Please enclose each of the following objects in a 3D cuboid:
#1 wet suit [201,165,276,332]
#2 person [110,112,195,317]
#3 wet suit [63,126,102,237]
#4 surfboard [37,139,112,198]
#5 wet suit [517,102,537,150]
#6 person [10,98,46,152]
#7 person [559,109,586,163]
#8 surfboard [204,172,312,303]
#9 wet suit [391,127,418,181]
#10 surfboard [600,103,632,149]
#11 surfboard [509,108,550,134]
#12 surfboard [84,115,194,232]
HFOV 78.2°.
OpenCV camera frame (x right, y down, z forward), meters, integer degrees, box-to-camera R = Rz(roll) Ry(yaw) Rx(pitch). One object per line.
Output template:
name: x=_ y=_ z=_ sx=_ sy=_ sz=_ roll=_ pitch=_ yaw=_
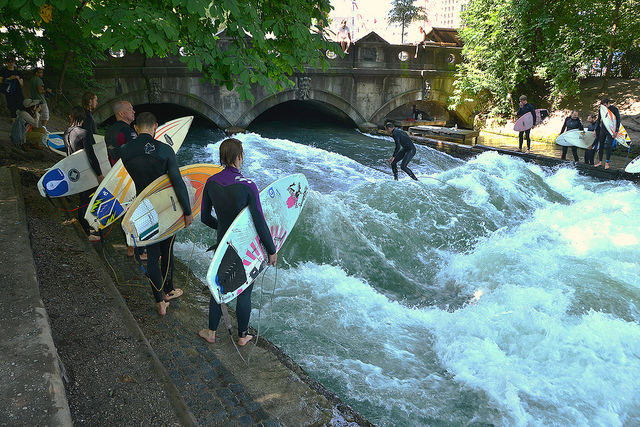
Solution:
wet suit: x=-1.035 y=0.488 z=4.877 sx=1.002 sy=2.163 sz=0.567 roll=6 pitch=18 yaw=4
person: x=-2.165 y=-0.019 z=5.321 sx=0.638 sy=2.568 sz=0.993 roll=-13 pitch=24 yaw=-43
wet suit: x=-3.982 y=-0.544 z=6.648 sx=0.536 sy=1.935 sz=0.266 roll=-9 pitch=1 yaw=14
surfboard: x=-4.507 y=-0.954 z=7.337 sx=0.911 sy=0.375 sz=2.867 roll=36 pitch=-2 yaw=-41
wet suit: x=7.805 y=-3.406 z=15.050 sx=0.752 sy=2.121 sz=0.595 roll=4 pitch=20 yaw=34
person: x=-6.775 y=-2.044 z=9.269 sx=0.559 sy=1.154 sz=0.649 roll=6 pitch=18 yaw=4
person: x=8.781 y=-2.592 z=13.709 sx=0.601 sy=1.995 sz=0.683 roll=-27 pitch=32 yaw=-29
surfboard: x=-0.791 y=0.044 z=5.217 sx=0.347 sy=0.788 sz=2.448 roll=2 pitch=42 yaw=41
wet suit: x=2.642 y=-1.838 z=12.438 sx=0.824 sy=1.648 sz=1.407 roll=8 pitch=18 yaw=12
surfboard: x=9.187 y=-2.752 z=12.293 sx=1.003 sy=1.165 sz=0.778 roll=11 pitch=19 yaw=19
surfboard: x=8.108 y=-3.696 z=15.308 sx=2.485 sy=0.751 sz=0.250 roll=-33 pitch=23 yaw=-30
surfboard: x=-3.044 y=-0.642 z=6.209 sx=0.477 sy=0.160 sz=1.746 roll=10 pitch=58 yaw=-7
